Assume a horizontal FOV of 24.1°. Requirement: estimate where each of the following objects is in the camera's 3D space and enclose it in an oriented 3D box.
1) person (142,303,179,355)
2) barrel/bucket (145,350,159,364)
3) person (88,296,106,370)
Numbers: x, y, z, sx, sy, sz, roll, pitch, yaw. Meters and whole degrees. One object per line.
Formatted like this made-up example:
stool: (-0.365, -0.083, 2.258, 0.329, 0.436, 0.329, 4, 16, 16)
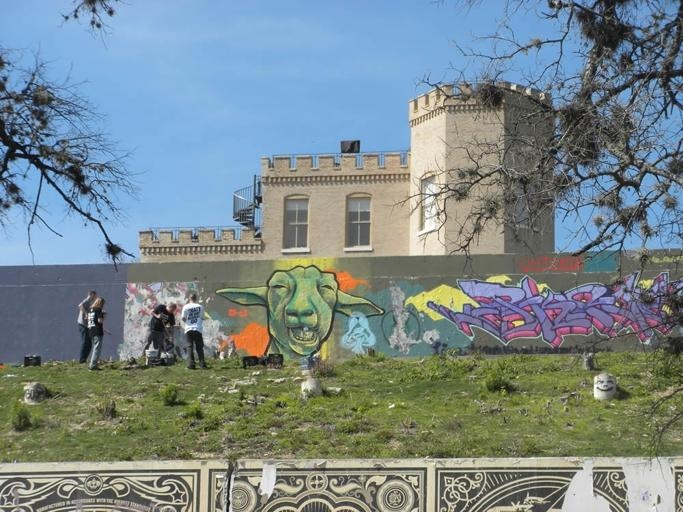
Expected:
person: (-5.228, 2.089, 46.739, 0.782, 1.428, 1.019, 0, -8, -8)
barrel/bucket: (-5.402, 2.905, 46.062, 0.364, 0.434, 0.379, -1, -10, 0)
person: (-6.961, 2.174, 45.523, 0.488, 2.147, 1.529, 0, -8, -9)
